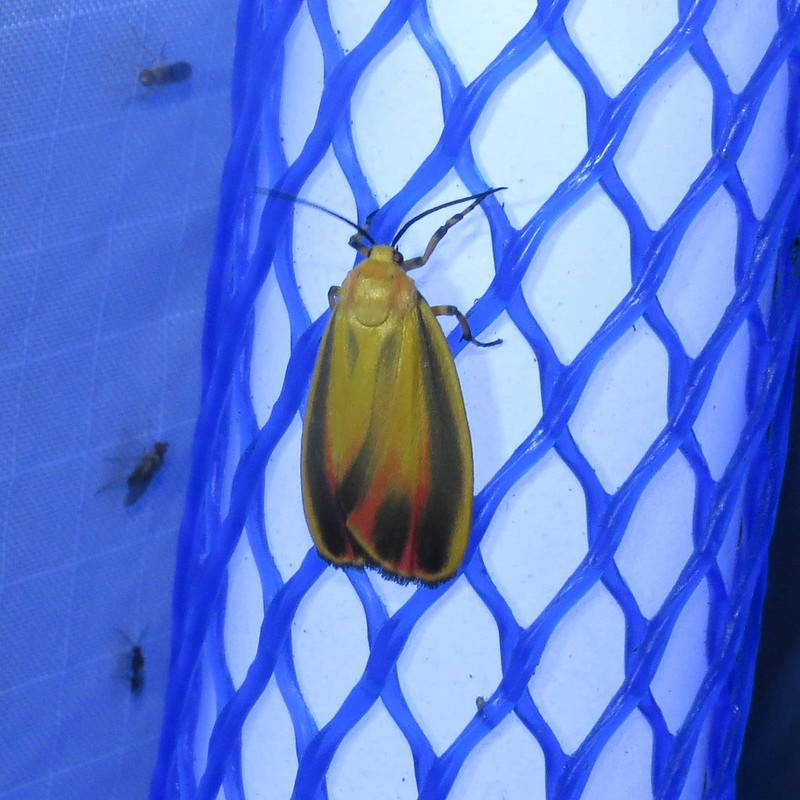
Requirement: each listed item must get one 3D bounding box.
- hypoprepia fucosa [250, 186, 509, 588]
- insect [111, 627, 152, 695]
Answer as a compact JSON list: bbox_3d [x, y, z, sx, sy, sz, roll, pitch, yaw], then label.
[{"bbox_3d":[-0.011,0.013,1.536,0.158,0.050,0.299,3,-82,-2],"label":"hypoprepia fucosa"},{"bbox_3d":[-0.267,0.274,1.686,0.023,0.060,0.088,3,-98,-15],"label":"insect"}]
